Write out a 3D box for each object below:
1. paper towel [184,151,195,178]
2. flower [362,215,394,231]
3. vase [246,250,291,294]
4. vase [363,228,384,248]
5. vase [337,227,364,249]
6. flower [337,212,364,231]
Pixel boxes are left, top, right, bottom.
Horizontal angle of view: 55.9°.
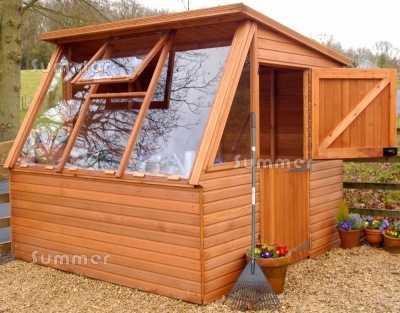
[{"bbox_3d":[-0.149,0.079,4.671,0.132,0.304,0.227,-5,7,-33],"label":"paper towel"},{"bbox_3d":[3.167,1.189,6.765,0.319,0.140,0.309,2,1,-16],"label":"flower"},{"bbox_3d":[0.877,1.563,4.981,0.524,0.452,0.552,-10,-16,33],"label":"vase"},{"bbox_3d":[3.043,1.425,6.601,0.315,0.240,0.309,0,-8,4],"label":"vase"},{"bbox_3d":[2.623,1.451,6.718,0.457,0.338,0.446,-4,0,16],"label":"vase"},{"bbox_3d":[2.654,1.148,6.580,0.338,0.207,0.315,-3,5,12],"label":"flower"}]
